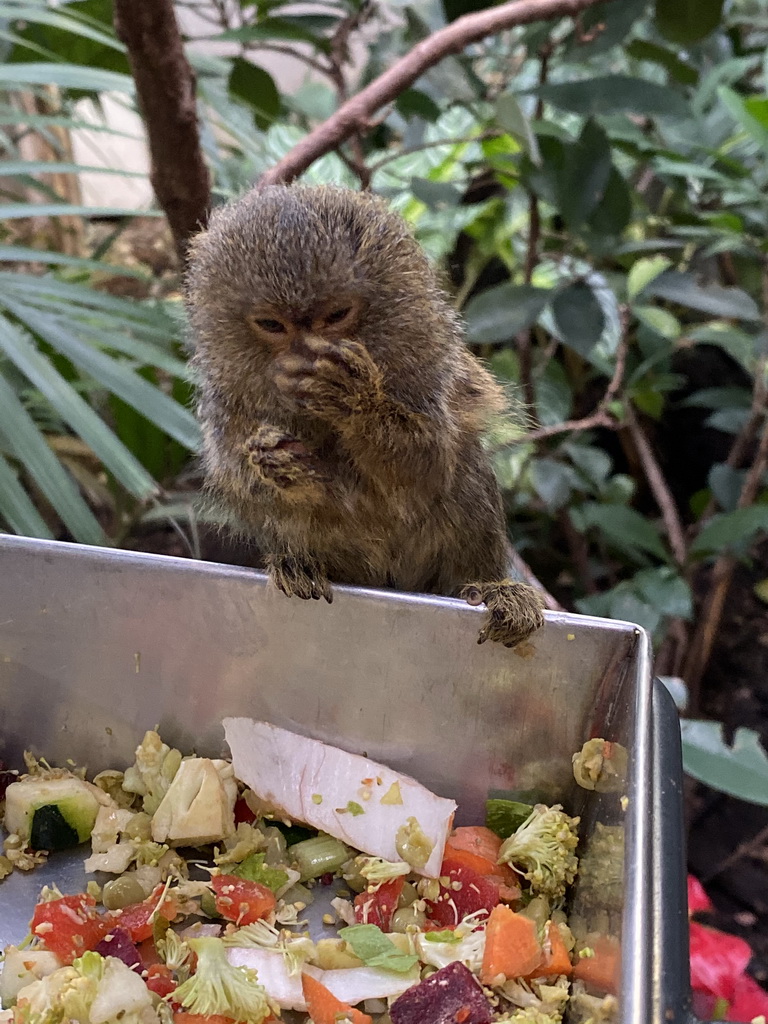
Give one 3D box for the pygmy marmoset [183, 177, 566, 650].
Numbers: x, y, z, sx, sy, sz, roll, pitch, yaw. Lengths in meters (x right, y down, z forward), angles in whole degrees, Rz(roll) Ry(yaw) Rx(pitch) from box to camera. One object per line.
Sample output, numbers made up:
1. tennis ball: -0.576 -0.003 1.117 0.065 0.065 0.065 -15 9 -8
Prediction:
1. pygmy marmoset: -0.022 -0.151 1.696 0.519 0.662 0.392 -3 18 -8
